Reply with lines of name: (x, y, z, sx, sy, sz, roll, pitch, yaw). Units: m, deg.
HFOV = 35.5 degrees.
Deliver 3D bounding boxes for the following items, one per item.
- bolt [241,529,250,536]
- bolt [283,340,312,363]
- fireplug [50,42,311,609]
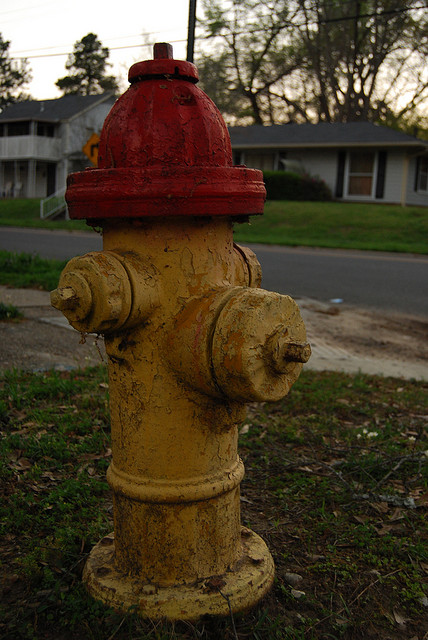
bolt: (0.121, 0.820, 2.589, 0.019, 0.021, 0.014, 1, -8, -10)
bolt: (0.229, 0.084, 1.848, 0.065, 0.063, 0.066, 2, 3, 35)
fireplug: (-0.113, 0.057, 2.118, 0.780, 1.845, 0.582, 2, 11, 2)
